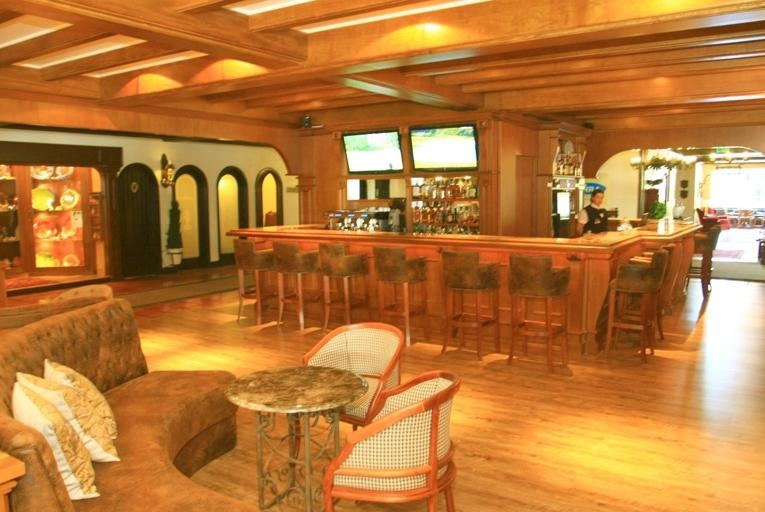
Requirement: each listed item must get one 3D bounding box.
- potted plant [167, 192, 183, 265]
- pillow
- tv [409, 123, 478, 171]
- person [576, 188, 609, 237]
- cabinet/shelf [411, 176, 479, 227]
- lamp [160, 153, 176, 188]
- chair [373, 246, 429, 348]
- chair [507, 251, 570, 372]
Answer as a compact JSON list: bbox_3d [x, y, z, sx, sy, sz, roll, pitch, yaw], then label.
[{"bbox_3d":[-5.230,-0.671,13.919,0.260,1.840,0.428,2,10,24],"label":"potted plant"},{"bbox_3d":[-2.157,1.194,3.854,0.362,0.722,1.124,-38,52,2],"label":"pillow"},{"bbox_3d":[1.158,-2.003,10.202,1.076,0.587,0.109,4,14,35],"label":"tv"},{"bbox_3d":[3.816,-0.792,10.173,0.488,0.821,1.433,2,8,19],"label":"person"},{"bbox_3d":[1.223,-1.012,10.490,1.120,0.899,0.365,1,2,29],"label":"cabinet/shelf"},{"bbox_3d":[-5.301,-2.046,13.575,0.259,0.789,0.271,7,12,42],"label":"lamp"},{"bbox_3d":[0.266,0.536,8.093,0.770,1.405,0.918,-1,8,3],"label":"chair"},{"bbox_3d":[1.998,0.652,7.146,0.736,1.439,0.925,1,9,17],"label":"chair"}]
